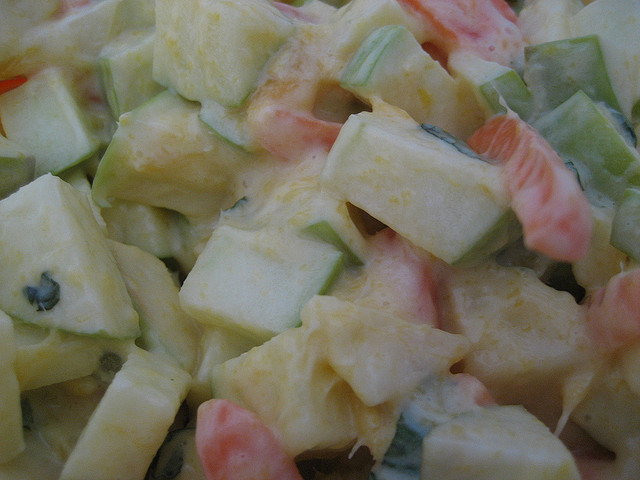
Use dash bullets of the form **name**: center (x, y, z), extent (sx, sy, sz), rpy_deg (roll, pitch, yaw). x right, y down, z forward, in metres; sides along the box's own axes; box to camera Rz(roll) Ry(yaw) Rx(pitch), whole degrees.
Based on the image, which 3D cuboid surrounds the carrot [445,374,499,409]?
- **carrot**: center (0.159, 0.163, 0.833), extent (0.050, 0.016, 0.044), rpy_deg (-5, 56, -9)

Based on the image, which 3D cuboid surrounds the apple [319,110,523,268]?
- **apple**: center (0.146, -0.081, 0.880), extent (0.255, 0.087, 0.155), rpy_deg (22, 43, 32)

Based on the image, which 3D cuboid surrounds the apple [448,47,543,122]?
- **apple**: center (0.199, -0.183, 0.923), extent (0.111, 0.031, 0.062), rpy_deg (40, 74, -3)

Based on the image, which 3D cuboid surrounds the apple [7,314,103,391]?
- **apple**: center (-0.299, 0.118, 0.865), extent (0.080, 0.088, 0.028), rpy_deg (-6, 40, -17)

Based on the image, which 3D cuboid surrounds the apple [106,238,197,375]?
- **apple**: center (-0.201, 0.064, 0.957), extent (0.040, 0.090, 0.174), rpy_deg (-24, 80, 5)

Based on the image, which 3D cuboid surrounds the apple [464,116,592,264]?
- **apple**: center (0.237, -0.075, 0.852), extent (0.096, 0.071, 0.251), rpy_deg (-13, 36, 2)
